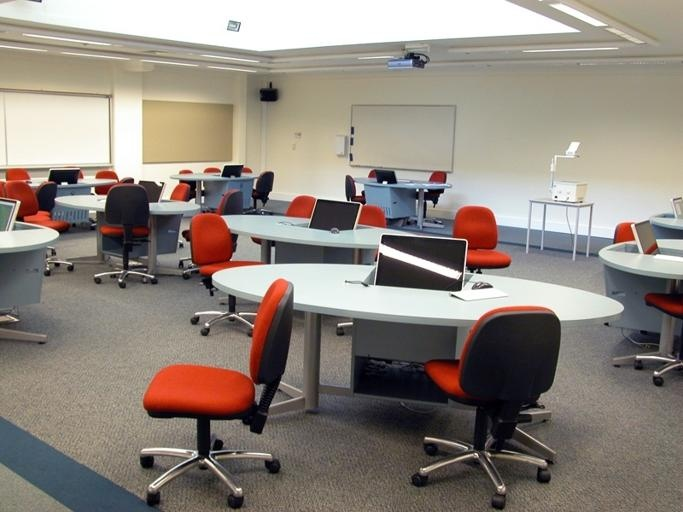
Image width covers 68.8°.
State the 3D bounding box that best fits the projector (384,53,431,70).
[{"bbox_3d":[1.158,-3.362,8.600,0.537,0.293,0.865,6,15,16],"label":"projector"}]

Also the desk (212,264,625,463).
[{"bbox_3d":[0.368,1.042,3.677,2.424,0.885,1.165,6,19,14],"label":"desk"}]

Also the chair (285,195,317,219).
[{"bbox_3d":[-0.478,-0.636,6.173,0.298,0.398,0.329,7,34,5],"label":"chair"}]

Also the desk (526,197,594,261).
[{"bbox_3d":[4.085,-0.487,9.197,1.130,1.132,0.864,8,10,39],"label":"desk"}]

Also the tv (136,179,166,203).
[{"bbox_3d":[-2.529,-0.885,6.718,0.398,0.378,0.092,-3,-7,14],"label":"tv"}]

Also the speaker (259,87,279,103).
[{"bbox_3d":[-1.919,-4.304,13.327,0.644,0.451,0.347,2,16,2],"label":"speaker"}]

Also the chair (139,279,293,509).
[{"bbox_3d":[-0.616,0.605,2.973,1.071,1.318,1.006,5,9,-7],"label":"chair"}]

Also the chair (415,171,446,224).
[{"bbox_3d":[1.820,-1.267,10.410,0.664,1.080,0.615,2,9,-24],"label":"chair"}]

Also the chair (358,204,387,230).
[{"bbox_3d":[0.358,-0.452,5.791,0.258,0.341,0.302,5,10,19],"label":"chair"}]

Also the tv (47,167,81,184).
[{"bbox_3d":[-4.522,-1.309,8.149,0.507,0.340,0.338,-4,31,-37],"label":"tv"}]

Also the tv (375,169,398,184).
[{"bbox_3d":[0.877,-1.516,9.556,0.300,0.248,0.469,-7,17,-33],"label":"tv"}]
